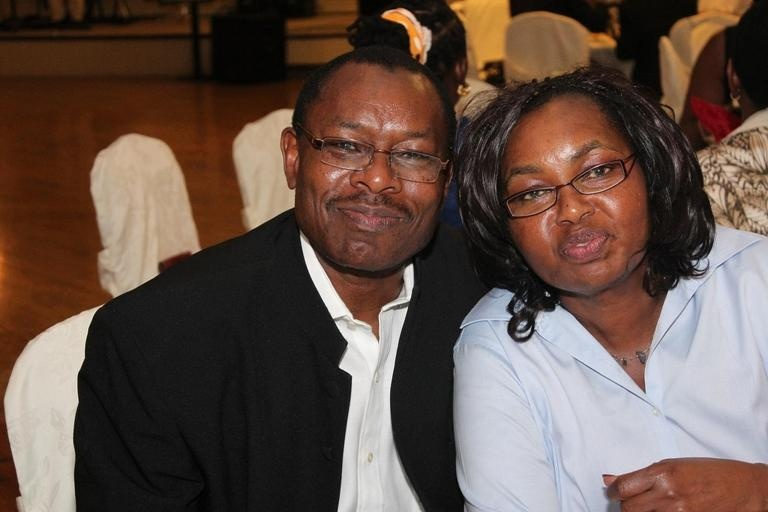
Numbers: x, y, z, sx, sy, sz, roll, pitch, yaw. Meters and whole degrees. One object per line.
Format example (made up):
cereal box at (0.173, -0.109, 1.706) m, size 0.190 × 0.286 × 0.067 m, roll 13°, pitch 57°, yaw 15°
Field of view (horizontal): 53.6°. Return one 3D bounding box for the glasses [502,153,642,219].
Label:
glasses at (0.641, -0.235, 2.636) m, size 0.436 × 0.197 × 0.140 m, roll 0°, pitch 16°, yaw 10°
